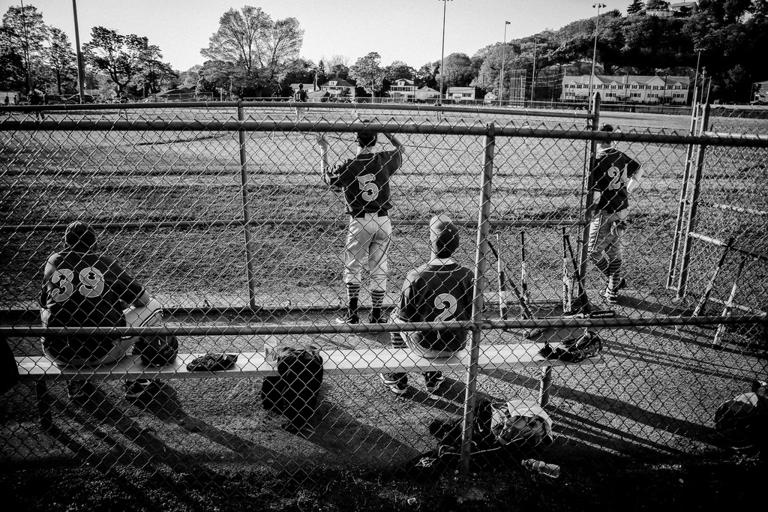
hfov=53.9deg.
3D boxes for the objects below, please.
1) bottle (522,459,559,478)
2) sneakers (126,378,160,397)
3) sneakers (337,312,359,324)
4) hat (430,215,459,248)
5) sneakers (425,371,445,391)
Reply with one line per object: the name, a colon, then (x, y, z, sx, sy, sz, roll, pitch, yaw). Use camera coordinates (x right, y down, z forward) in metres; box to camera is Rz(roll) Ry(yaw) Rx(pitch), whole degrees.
bottle: (1.912, 2.583, 9.178, 0.347, 0.129, 0.198, 11, 28, 9)
sneakers: (-3.247, 1.762, 10.064, 0.484, 0.270, 0.242, -2, -11, -27)
sneakers: (-0.544, 0.947, 11.368, 0.165, 0.188, 0.484, 0, -9, -15)
hat: (0.751, -0.355, 9.755, 0.329, 0.407, 0.418, -3, 36, 5)
sneakers: (0.658, 1.674, 10.188, 0.174, 0.180, 0.408, 5, 13, 25)
